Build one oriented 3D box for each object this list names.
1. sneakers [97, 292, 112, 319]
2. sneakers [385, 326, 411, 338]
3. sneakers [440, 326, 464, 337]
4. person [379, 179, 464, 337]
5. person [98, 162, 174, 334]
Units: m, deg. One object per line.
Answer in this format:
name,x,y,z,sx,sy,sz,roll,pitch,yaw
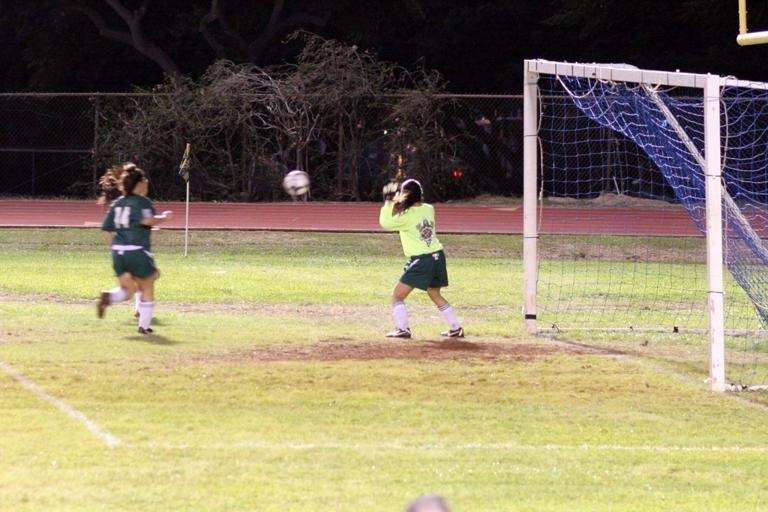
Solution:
sneakers,-4.803,0.846,18.654,0.183,0.485,0.216,18,12,12
sneakers,0.216,1.320,18.688,0.508,0.167,0.158,1,-3,5
sneakers,1.144,1.310,18.802,0.440,0.146,0.156,1,2,14
person,0.602,0.041,18.703,1.318,2.710,0.380,0,1,1
person,-4.342,-0.138,18.679,1.126,2.895,0.892,0,1,-14
